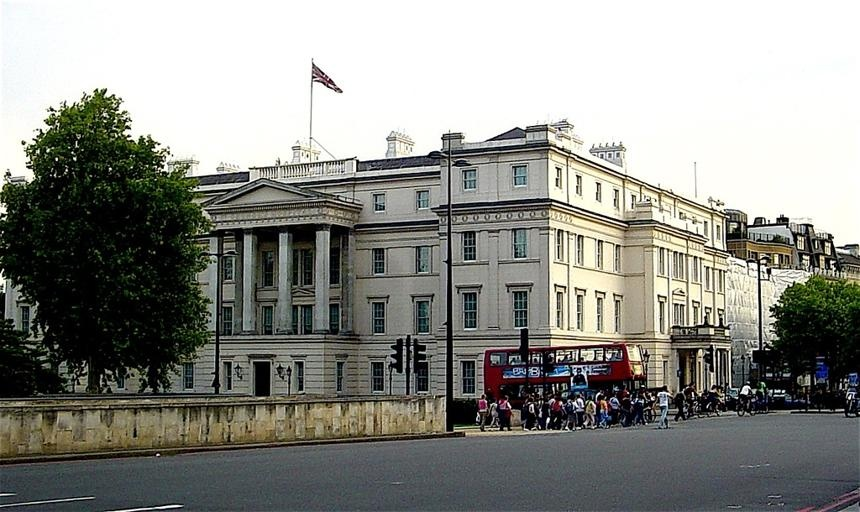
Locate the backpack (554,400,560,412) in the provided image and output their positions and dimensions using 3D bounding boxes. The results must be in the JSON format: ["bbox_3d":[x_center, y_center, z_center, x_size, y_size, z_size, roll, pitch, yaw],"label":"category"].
[{"bbox_3d":[7.743,9.074,78.792,0.390,0.743,0.951,-1,-11,0],"label":"backpack"}]

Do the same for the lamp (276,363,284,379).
[{"bbox_3d":[-12.012,9.262,103.933,0.275,1.226,0.949,11,-16,-43],"label":"lamp"}]

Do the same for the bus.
[{"bbox_3d":[9.139,7.793,89.102,14.848,5.261,4.179,-3,-5,19],"label":"bus"}]

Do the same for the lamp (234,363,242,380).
[{"bbox_3d":[-15.705,9.457,106.171,0.765,1.226,0.286,-2,-12,8],"label":"lamp"}]
